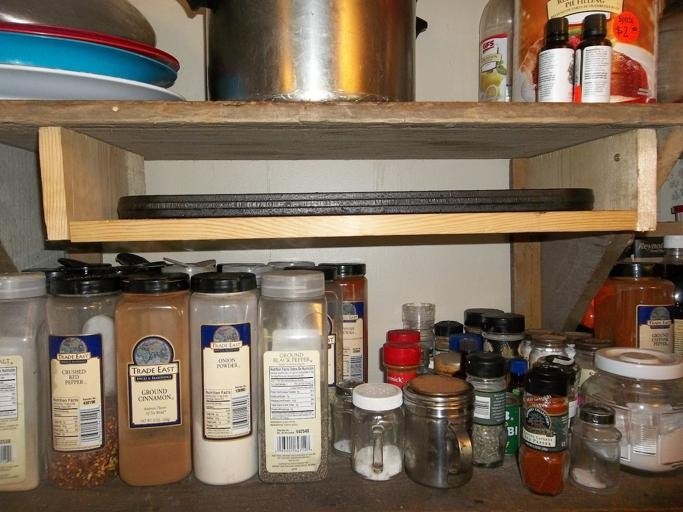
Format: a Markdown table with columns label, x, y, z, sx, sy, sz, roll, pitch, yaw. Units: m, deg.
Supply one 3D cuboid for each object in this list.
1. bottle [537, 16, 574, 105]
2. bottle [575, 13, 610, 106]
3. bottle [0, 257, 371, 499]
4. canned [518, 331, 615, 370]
| label | x | y | z | sx | sy | sz | roll | pitch | yaw |
| --- | --- | --- | --- | --- | --- | --- | --- | --- | --- |
| bottle | 0.371 | -0.340 | 1.217 | 0.064 | 0.145 | 0.036 | -3 | 4 | 12 |
| bottle | 0.426 | -0.336 | 1.192 | 0.062 | 0.151 | 0.021 | -3 | 4 | 15 |
| bottle | -0.285 | 0.223 | 1.196 | 0.514 | 0.328 | 0.145 | 0 | 4 | -3 |
| canned | 0.430 | 0.171 | 1.343 | 0.133 | 0.098 | 0.076 | -1 | 8 | -3 |
